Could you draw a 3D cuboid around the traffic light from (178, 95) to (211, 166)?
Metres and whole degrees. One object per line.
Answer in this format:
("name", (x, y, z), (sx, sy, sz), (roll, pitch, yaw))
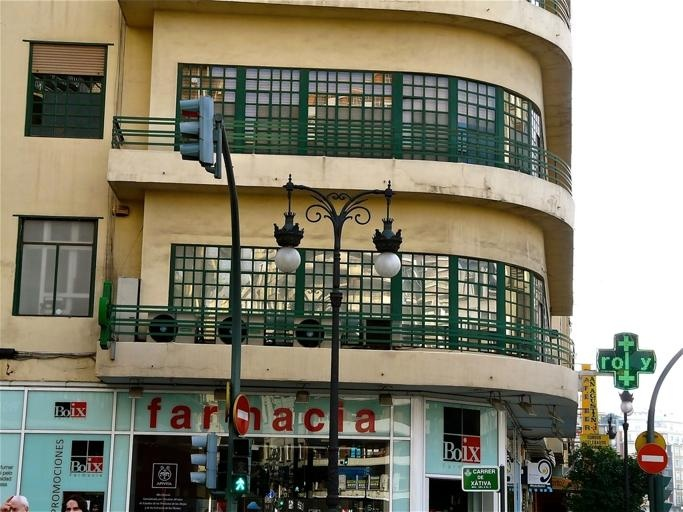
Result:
("traffic light", (-3.469, -2.923, 37.519), (0.831, 1.656, 0.624), (1, -10, -11))

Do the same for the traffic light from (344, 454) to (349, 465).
("traffic light", (0.119, 5.970, 44.779), (0.165, 0.325, 0.183), (2, -8, -11))

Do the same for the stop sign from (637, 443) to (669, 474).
("stop sign", (8.779, 5.801, 44.065), (0.791, 0.952, 0.880), (-1, -13, 10))

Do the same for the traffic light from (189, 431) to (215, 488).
("traffic light", (-3.491, 5.253, 39.452), (0.603, 1.459, 1.043), (-3, -14, 19))

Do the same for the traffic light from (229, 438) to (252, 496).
("traffic light", (-2.565, 5.404, 39.396), (0.477, 1.422, 0.310), (3, -13, -8))

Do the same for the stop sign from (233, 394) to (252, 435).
("stop sign", (-2.523, 4.124, 39.886), (0.107, 1.076, 1.048), (2, 2, -26))
